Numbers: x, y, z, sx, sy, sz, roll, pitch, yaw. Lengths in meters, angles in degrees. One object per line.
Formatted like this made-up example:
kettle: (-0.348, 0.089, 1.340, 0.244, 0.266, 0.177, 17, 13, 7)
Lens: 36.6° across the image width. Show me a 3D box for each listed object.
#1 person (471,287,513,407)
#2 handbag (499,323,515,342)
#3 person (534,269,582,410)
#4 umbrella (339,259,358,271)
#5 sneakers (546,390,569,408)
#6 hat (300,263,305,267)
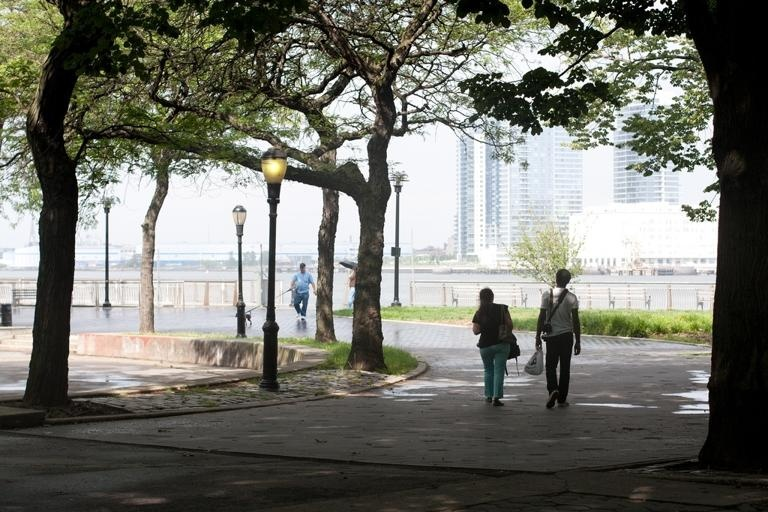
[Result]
person: (1.978, 1.608, 21.019, 0.717, 2.099, 0.761, -1, -3, 4)
handbag: (2.190, 1.362, 20.743, 0.177, 0.301, 0.363, -17, -17, 42)
person: (3.106, 1.448, 20.647, 0.755, 2.438, 0.712, -1, -3, 8)
umbrella: (-1.261, 0.287, 40.451, 0.626, 0.249, 0.562, 15, -1, -22)
sneakers: (3.062, 2.553, 20.500, 0.221, 0.189, 0.493, 1, -16, 0)
hat: (-2.638, 0.280, 36.982, 0.145, 0.107, 0.118, -12, -7, 30)
